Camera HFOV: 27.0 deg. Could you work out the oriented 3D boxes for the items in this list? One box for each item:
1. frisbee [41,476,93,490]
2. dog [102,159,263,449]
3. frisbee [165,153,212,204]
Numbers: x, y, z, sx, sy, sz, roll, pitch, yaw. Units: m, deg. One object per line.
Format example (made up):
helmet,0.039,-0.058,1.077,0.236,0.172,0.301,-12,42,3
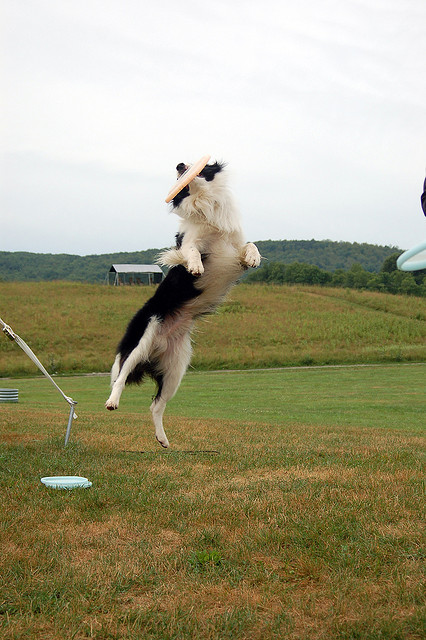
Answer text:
frisbee,-1.329,1.469,8.076,0.464,0.061,0.541,4,2,-8
dog,-0.355,-0.104,10.076,1.118,2.525,1.348,4,3,-36
frisbee,-0.263,-1.520,9.569,0.407,0.403,0.652,5,2,-4
